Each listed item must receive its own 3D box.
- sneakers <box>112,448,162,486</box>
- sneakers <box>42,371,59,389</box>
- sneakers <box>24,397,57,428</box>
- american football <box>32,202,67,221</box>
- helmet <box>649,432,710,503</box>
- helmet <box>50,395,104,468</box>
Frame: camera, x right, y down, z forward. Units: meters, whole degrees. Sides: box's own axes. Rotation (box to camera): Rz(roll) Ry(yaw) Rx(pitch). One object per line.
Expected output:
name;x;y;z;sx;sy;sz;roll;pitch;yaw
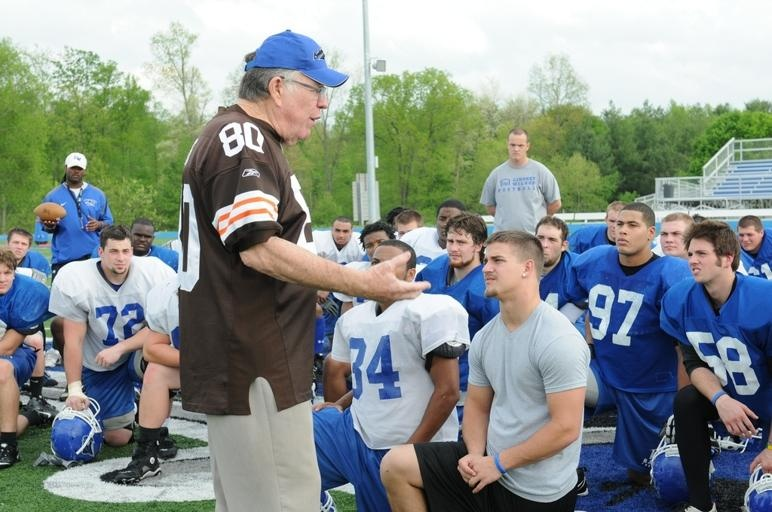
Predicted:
sneakers;-2.097;1.795;7.046;0.487;0.289;0.172;6;-13;-30
sneakers;-3.847;1.421;9.495;0.337;0.218;0.117;-6;-3;35
sneakers;-3.463;1.552;8.297;0.244;0.144;0.326;25;-6;2
american football;-4.293;-0.568;10.556;0.337;0.206;0.223;-3;-34;16
helmet;2.332;1.686;6.553;0.402;0.466;0.415;-5;33;13
helmet;-2.713;1.564;7.413;0.409;0.506;0.403;1;21;14
